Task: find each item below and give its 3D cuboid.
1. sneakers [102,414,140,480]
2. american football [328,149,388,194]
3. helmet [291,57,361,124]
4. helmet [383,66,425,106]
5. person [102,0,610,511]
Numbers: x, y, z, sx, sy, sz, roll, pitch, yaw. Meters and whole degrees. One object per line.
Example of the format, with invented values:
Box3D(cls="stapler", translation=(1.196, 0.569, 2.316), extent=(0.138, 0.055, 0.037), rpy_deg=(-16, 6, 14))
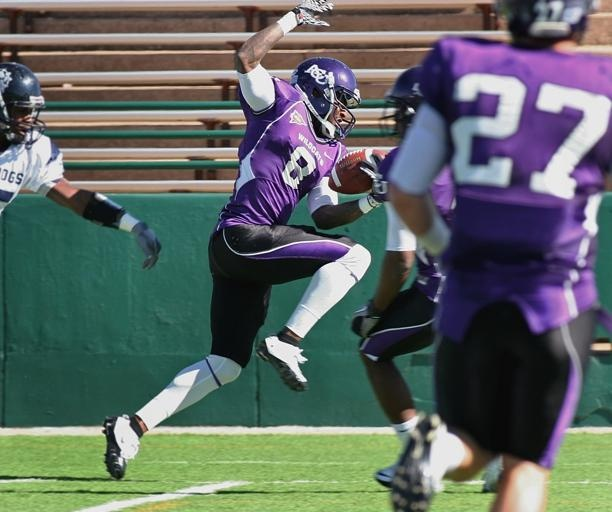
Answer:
Box3D(cls="sneakers", translation=(-0.845, 0.861, 4.880), extent=(0.213, 0.308, 0.127), rpy_deg=(1, -7, -3))
Box3D(cls="american football", translation=(0.259, -0.435, 5.202), extent=(0.288, 0.146, 0.200), rpy_deg=(-22, -26, 23))
Box3D(cls="helmet", translation=(0.153, -0.850, 5.418), extent=(0.383, 0.280, 0.292), rpy_deg=(31, -1, -1))
Box3D(cls="helmet", translation=(0.409, -0.742, 4.487), extent=(0.134, 0.175, 0.294), rpy_deg=(0, 1, 2))
Box3D(cls="person", translation=(-0.122, -0.174, 4.940), extent=(1.296, 1.623, 1.118), rpy_deg=(-1, 0, -30))
